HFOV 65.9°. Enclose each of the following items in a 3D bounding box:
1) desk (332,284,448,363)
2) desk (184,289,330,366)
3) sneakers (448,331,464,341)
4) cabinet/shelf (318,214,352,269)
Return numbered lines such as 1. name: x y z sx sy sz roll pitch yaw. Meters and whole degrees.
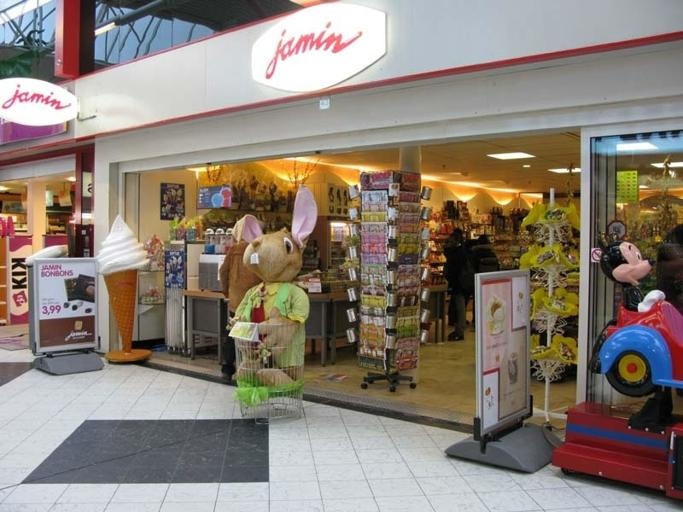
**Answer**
1. desk: 1.187 1.011 9.532 1.781 1.258 1.381 -2 -3 42
2. desk: -1.458 1.153 8.064 2.277 1.349 1.438 2 1 0
3. sneakers: 2.040 1.415 9.546 0.265 0.155 0.149 1 4 9
4. cabinet/shelf: -0.228 -0.284 10.579 0.641 1.053 0.504 -1 4 -22
